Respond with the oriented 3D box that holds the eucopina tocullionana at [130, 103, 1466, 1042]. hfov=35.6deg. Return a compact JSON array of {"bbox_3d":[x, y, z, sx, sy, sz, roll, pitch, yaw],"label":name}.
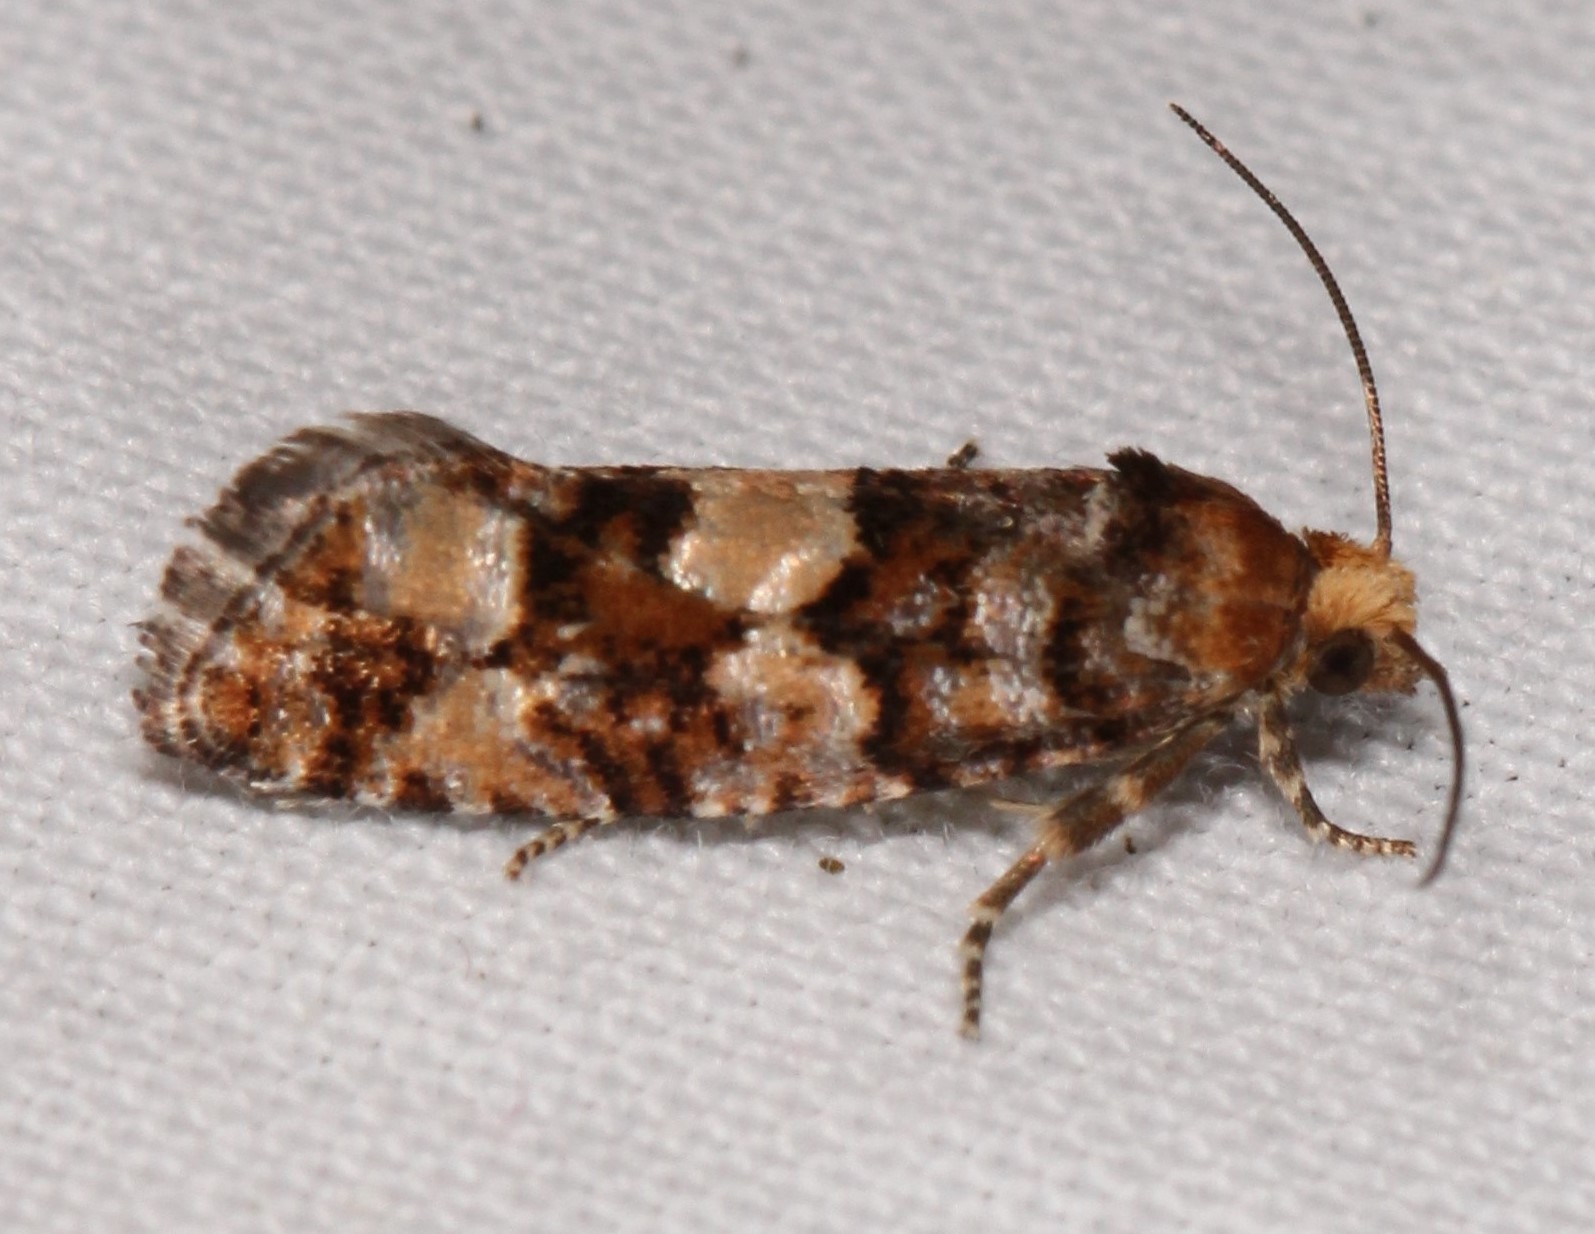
[{"bbox_3d":[-0.003,-0.002,3.967,2.201,0.515,1.223,0,67,0],"label":"eucopina tocullionana"}]
